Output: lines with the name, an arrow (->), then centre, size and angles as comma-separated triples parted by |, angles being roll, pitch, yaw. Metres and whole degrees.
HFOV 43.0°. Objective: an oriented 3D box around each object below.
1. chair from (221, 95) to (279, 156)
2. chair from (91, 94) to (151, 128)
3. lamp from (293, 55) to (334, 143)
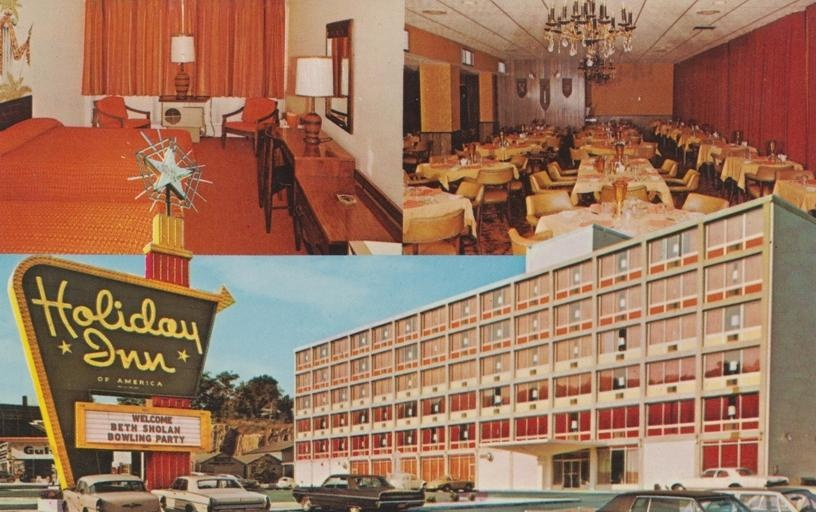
chair -> -3.541, -2.802, 23.095 | 1.109, 1.295, 1.028 | 0, -1, 26
chair -> -6.137, -2.989, 22.079 | 0.721, 0.893, 0.892 | 5, 11, 26
lamp -> -1.913, -3.099, 20.959 | 0.698, 1.761, 0.740 | 2, -1, -15
